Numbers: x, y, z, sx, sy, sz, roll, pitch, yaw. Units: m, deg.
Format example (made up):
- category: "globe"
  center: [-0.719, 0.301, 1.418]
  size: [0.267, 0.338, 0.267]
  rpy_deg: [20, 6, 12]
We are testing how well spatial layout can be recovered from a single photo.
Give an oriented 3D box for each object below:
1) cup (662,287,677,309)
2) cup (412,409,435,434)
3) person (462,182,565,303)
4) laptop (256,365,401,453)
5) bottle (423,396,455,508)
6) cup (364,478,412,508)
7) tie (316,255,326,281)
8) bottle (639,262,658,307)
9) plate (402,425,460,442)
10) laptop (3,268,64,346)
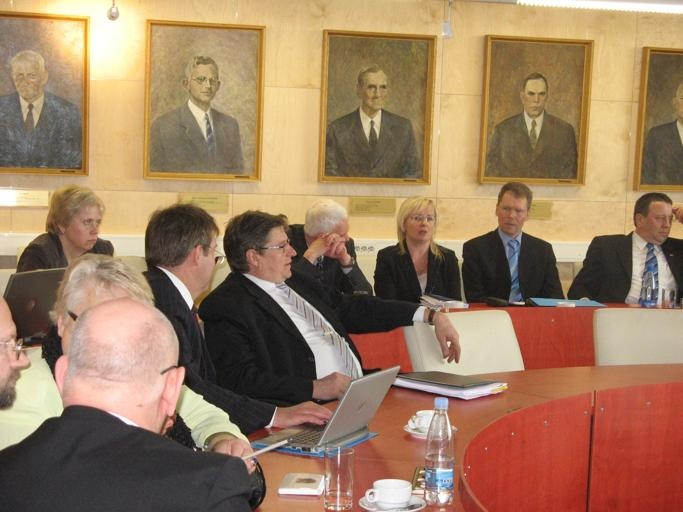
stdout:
- category: "cup"
  center: [2.363, 0.311, 5.096]
  size: [0.087, 0.165, 0.089]
  rpy_deg: [2, -14, 1]
- category: "cup"
  center: [0.320, 0.651, 2.781]
  size: [0.061, 0.069, 0.100]
  rpy_deg: [4, 10, 35]
- category: "person"
  center: [1.360, -0.112, 5.637]
  size: [0.739, 0.932, 0.386]
  rpy_deg: [-2, 5, -13]
- category: "laptop"
  center: [-0.047, 0.610, 2.711]
  size: [0.347, 0.229, 0.364]
  rpy_deg: [-2, -5, 24]
- category: "bottle"
  center: [0.332, 0.648, 2.384]
  size: [0.101, 0.295, 0.295]
  rpy_deg: [0, 4, 9]
- category: "cup"
  center: [0.153, 0.756, 2.255]
  size: [0.129, 0.069, 0.103]
  rpy_deg: [2, 5, 34]
- category: "tie"
  center: [-0.144, 0.091, 5.253]
  size: [0.033, 0.193, 0.051]
  rpy_deg: [-2, -2, -10]
- category: "bottle"
  center: [2.399, 0.234, 5.516]
  size: [0.148, 0.442, 0.157]
  rpy_deg: [10, -20, 4]
- category: "plate"
  center: [0.328, 0.656, 2.607]
  size: [0.117, 0.021, 0.121]
  rpy_deg: [-4, -5, 44]
- category: "laptop"
  center: [-1.427, 0.236, 3.289]
  size: [0.234, 0.316, 0.321]
  rpy_deg: [23, 15, 33]
